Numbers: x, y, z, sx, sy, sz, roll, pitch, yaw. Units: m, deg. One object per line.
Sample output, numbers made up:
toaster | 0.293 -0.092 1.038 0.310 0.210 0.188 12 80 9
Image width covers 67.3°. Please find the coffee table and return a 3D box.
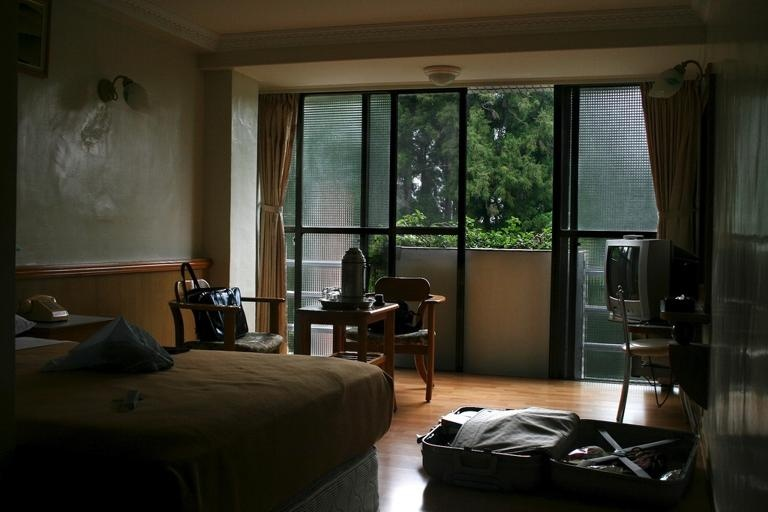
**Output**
coffee table | -0.198 0.707 4.105 0.593 0.731 0.601 -3 -9 -2

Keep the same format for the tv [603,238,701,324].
tv | 2.172 0.190 4.638 0.611 0.630 0.651 2 0 -5

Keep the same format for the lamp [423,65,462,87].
lamp | 0.510 -1.582 5.039 0.320 0.124 0.236 0 2 4

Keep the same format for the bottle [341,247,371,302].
bottle | -0.207 0.132 4.092 0.175 0.377 0.269 0 2 3

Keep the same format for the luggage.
luggage | 0.974 1.092 3.274 1.432 0.306 0.922 1 2 27

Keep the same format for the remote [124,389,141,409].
remote | -0.896 0.509 2.049 0.038 0.017 0.066 4 19 -10

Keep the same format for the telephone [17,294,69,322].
telephone | -2.030 0.305 3.449 0.194 0.123 0.156 2 0 -4

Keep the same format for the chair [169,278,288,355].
chair | -1.160 0.369 4.390 0.650 0.759 0.701 -1 -1 21

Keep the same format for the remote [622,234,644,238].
remote | 2.091 -0.166 4.821 0.122 0.031 0.119 -2 -4 28

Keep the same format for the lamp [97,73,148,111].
lamp | -1.975 -1.251 4.356 0.338 0.286 0.208 -1 2 -26

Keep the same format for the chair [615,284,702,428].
chair | 2.016 0.722 4.268 0.690 0.891 0.667 14 -10 -26

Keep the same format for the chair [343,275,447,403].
chair | 0.235 0.681 4.816 0.622 0.715 0.476 -17 -7 29

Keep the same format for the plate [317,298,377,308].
plate | -0.256 0.335 4.025 0.374 0.061 0.193 0 2 -7
